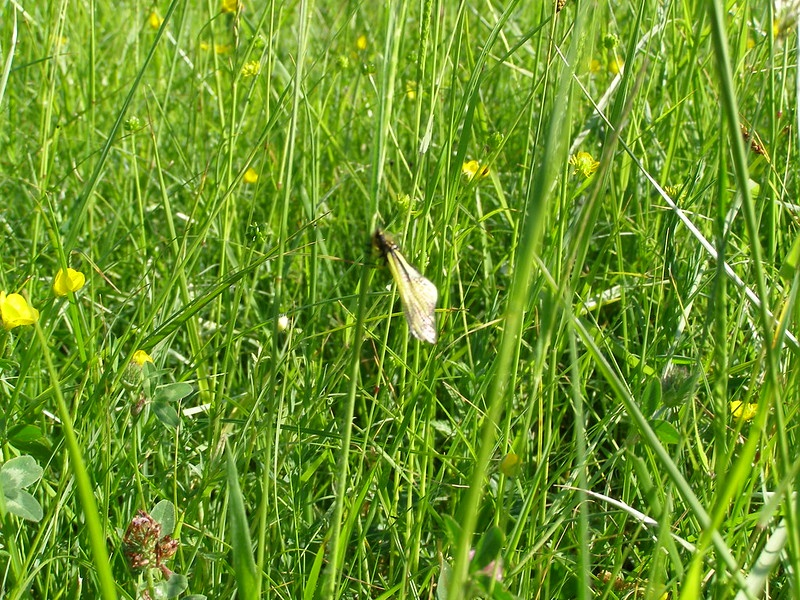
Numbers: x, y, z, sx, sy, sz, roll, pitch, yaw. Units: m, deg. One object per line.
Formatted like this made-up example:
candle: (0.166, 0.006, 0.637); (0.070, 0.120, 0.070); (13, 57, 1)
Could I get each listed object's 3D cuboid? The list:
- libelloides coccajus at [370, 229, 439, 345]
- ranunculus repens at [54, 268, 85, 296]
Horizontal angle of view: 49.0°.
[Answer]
libelloides coccajus: (0.017, -0.048, 2.379); (0.142, 0.371, 0.333); (-4, 22, 4)
ranunculus repens: (-0.907, -0.057, 2.405); (0.065, 0.055, 0.069); (4, 6, -7)
